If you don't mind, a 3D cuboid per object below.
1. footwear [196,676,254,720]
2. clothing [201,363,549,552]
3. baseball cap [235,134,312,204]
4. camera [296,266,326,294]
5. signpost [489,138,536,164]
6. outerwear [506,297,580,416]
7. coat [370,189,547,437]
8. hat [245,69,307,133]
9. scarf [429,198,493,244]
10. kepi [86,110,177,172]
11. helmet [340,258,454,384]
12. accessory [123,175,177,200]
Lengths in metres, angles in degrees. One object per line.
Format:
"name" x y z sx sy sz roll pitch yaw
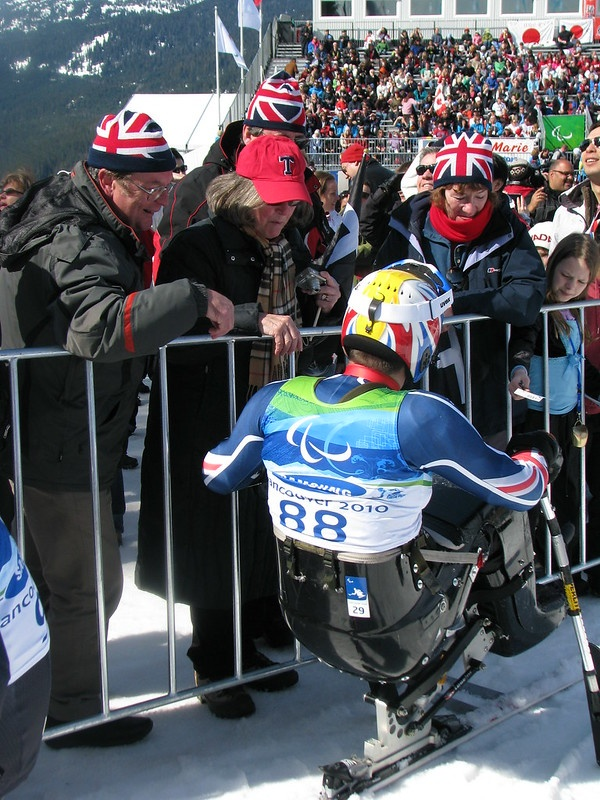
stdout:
"footwear" -0.266 1.025 2.966 0.094 0.109 0.272 -7 -2 -39
"clothing" 0.172 0.139 2.135 0.820 0.369 0.461 9 44 32
"baseball cap" -0.095 -0.769 2.833 0.236 0.241 0.237 -2 8 -4
"camera" 0.036 -0.440 3.184 0.101 0.092 0.099 25 -35 -36
"signpost" 4.930 -5.697 19.275 0.939 0.720 1.420 0 8 15
"outerwear" 1.069 -0.198 3.748 0.179 0.367 0.505 7 15 36
"coat" 0.770 -0.347 3.950 0.632 1.106 0.782 -21 23 -26
"hat" -0.093 -1.350 3.873 0.313 0.261 0.406 7 16 1
"scarf" 0.719 -0.781 3.770 0.234 0.108 0.190 14 30 22
"kepi" -0.528 -0.777 2.605 0.229 0.144 0.230 23 27 31
"helmet" 0.330 -0.212 2.323 0.262 0.248 0.338 20 4 23
"accessory" -0.481 -0.644 2.603 0.084 0.024 0.080 24 26 17
